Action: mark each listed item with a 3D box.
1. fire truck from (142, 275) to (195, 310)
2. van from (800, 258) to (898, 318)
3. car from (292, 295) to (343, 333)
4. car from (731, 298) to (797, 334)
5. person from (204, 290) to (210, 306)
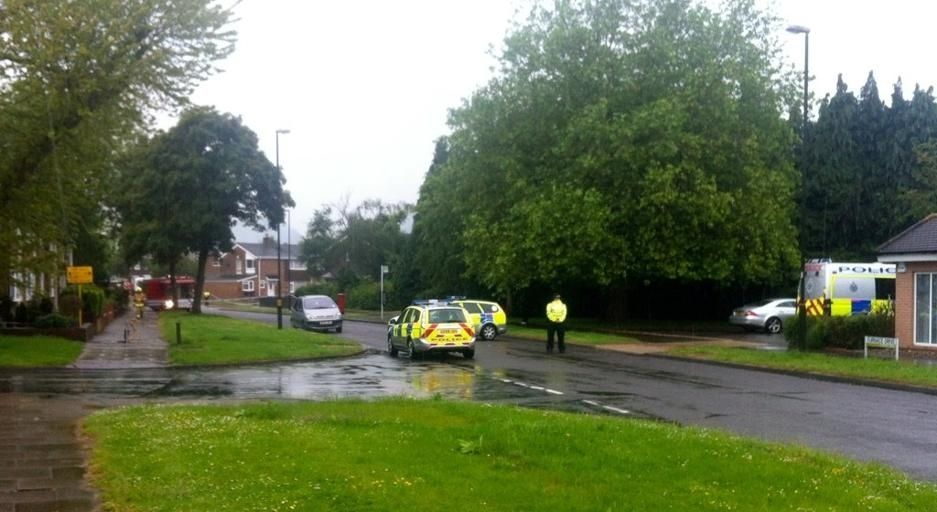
[{"bbox_3d":[-29.469,3.559,88.774,4.501,2.599,5.620,-5,1,-44],"label":"fire truck"},{"bbox_3d":[23.976,2.268,54.102,7.245,4.155,3.654,0,3,-13],"label":"van"},{"bbox_3d":[-9.616,3.588,56.687,2.075,2.367,4.164,6,-7,-39],"label":"car"},{"bbox_3d":[18.117,3.761,54.368,4.530,1.352,1.980,-4,3,-20],"label":"car"},{"bbox_3d":[-31.663,4.989,107.210,0.512,1.646,0.888,1,-6,3],"label":"person"}]
